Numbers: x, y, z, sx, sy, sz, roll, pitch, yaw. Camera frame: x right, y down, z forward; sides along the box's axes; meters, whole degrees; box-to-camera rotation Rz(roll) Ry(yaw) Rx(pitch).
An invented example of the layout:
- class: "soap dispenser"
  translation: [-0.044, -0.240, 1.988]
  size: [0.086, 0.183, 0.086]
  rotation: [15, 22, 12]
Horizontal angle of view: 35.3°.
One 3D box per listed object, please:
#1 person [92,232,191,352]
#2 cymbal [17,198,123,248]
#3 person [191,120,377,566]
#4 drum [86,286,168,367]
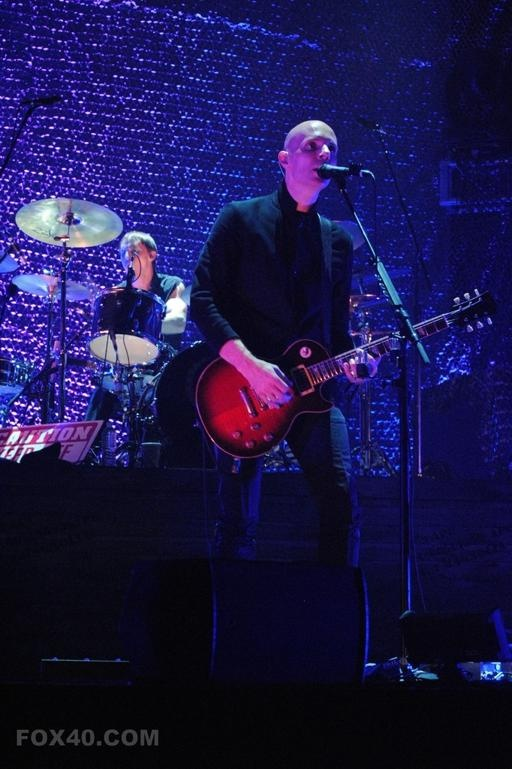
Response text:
- class: "person"
  translation: [-0.734, -0.593, 5.268]
  size: [0.551, 0.766, 0.486]
  rotation: [-9, -13, 24]
- class: "cymbal"
  translation: [-1.205, -1.039, 5.178]
  size: [0.653, 0.405, 0.430]
  rotation: [4, 24, -17]
- class: "person"
  translation: [0.082, 0.046, 2.575]
  size: [0.609, 1.837, 0.480]
  rotation: [1, -10, -2]
- class: "drum"
  translation: [-0.730, -0.257, 4.440]
  size: [0.426, 0.316, 0.433]
  rotation: [-1, -30, -1]
